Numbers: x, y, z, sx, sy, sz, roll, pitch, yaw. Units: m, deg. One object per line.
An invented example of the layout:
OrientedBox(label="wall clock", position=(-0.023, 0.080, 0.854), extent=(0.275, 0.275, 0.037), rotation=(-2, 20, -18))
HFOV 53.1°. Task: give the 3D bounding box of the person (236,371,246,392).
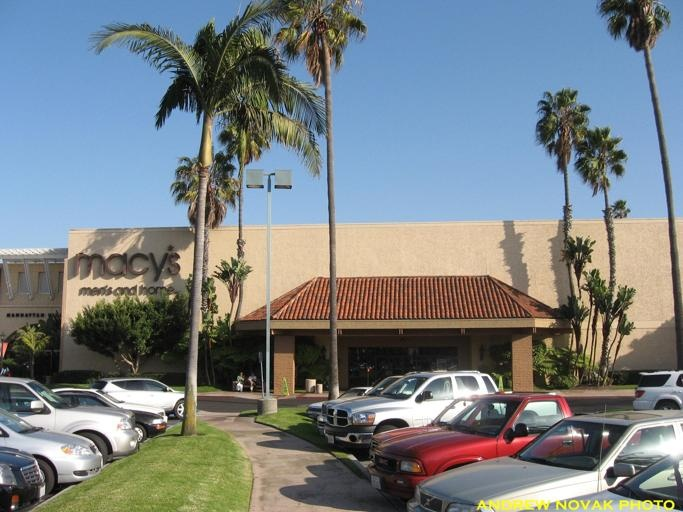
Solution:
OrientedBox(label="person", position=(-6.285, 7.792, 42.098), extent=(0.592, 1.013, 1.597), rotation=(-1, -3, -9))

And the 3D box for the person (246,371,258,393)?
OrientedBox(label="person", position=(-5.578, 7.808, 41.998), extent=(0.532, 1.258, 0.687), rotation=(-1, 22, -1))
